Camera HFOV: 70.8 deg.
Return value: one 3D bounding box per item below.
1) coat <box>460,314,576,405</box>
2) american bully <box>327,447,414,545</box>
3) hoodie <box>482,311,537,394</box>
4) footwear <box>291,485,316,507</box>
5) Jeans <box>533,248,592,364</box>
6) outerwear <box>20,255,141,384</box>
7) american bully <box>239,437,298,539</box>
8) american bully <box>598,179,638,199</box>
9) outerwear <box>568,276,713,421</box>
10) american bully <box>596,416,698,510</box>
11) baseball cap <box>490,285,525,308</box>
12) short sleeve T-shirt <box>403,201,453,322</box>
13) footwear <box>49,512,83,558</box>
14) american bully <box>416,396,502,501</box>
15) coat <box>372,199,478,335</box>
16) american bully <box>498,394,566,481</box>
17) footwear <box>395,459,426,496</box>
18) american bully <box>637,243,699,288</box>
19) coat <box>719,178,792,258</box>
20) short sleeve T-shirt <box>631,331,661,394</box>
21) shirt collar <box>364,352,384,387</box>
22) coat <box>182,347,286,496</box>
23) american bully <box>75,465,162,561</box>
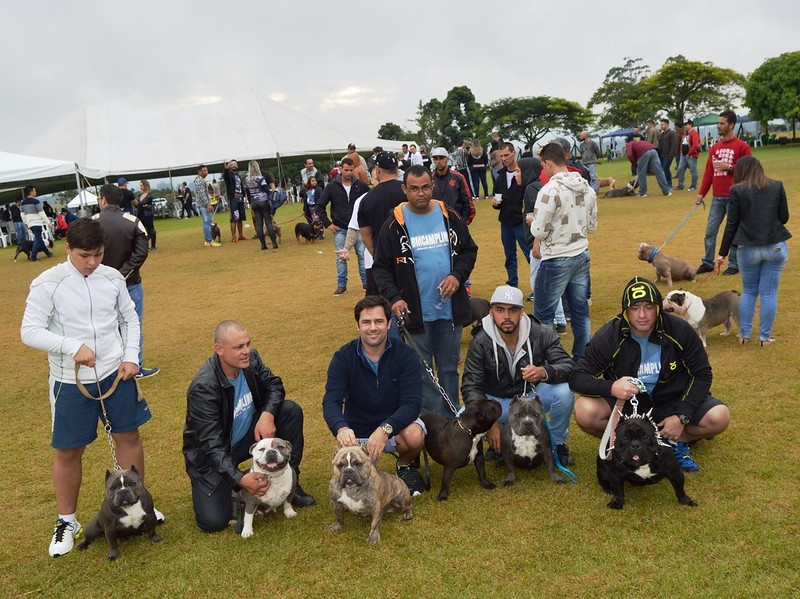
[{"bbox_3d":[1.141,0.530,5.796,1.055,1.052,0.876,-10,38,-4],"label":"coat"},{"bbox_3d":[-0.266,1.656,4.865,0.542,0.739,0.912,-4,-8,28],"label":"american bully"},{"bbox_3d":[1.100,0.504,5.574,0.565,0.755,0.307,-3,4,8],"label":"hoodie"},{"bbox_3d":[-0.935,1.832,5.244,0.303,0.217,0.105,0,1,18],"label":"footwear"},{"bbox_3d":[2.039,0.081,6.984,0.629,1.472,0.425,3,-1,-2],"label":"Jeans"},{"bbox_3d":[-2.673,0.191,4.744,0.843,1.001,0.432,-10,13,-26],"label":"outerwear"},{"bbox_3d":[-1.093,1.555,4.756,0.473,0.672,0.862,-3,1,-17],"label":"american bully"},{"bbox_3d":[8.149,-4.153,21.519,1.670,0.722,0.522,-10,16,22],"label":"american bully"},{"bbox_3d":[2.270,0.497,5.248,1.193,1.384,0.391,-2,12,12],"label":"outerwear"},{"bbox_3d":[2.141,1.417,4.986,0.675,0.737,0.978,-6,-10,16],"label":"american bully"},{"bbox_3d":[1.128,-0.027,5.887,0.371,0.172,0.528,4,2,7],"label":"baseball cap"},{"bbox_3d":[0.273,-0.375,5.880,0.581,1.138,0.276,-3,-2,-21],"label":"short sleeve T-shirt"},{"bbox_3d":[-2.828,1.980,4.800,0.144,0.179,0.400,-9,22,-1],"label":"footwear"},{"bbox_3d":[0.482,1.373,5.322,1.093,0.901,0.559,-2,2,38],"label":"american bully"},{"bbox_3d":[0.365,-0.276,6.005,1.017,1.170,0.611,-9,-18,-4],"label":"coat"},{"bbox_3d":[1.253,1.321,5.434,0.618,0.873,0.862,-4,-7,9],"label":"american bully"},{"bbox_3d":[0.116,1.694,5.399,0.148,0.173,0.378,-24,22,-20],"label":"footwear"},{"bbox_3d":[4.773,-0.600,9.990,1.171,0.684,0.404,4,-5,-10],"label":"american bully"},{"bbox_3d":[4.460,-0.984,7.083,0.738,0.966,0.515,2,13,29],"label":"coat"},{"bbox_3d":[2.347,0.597,5.296,0.304,0.430,0.142,-1,2,12],"label":"short sleeve T-shirt"},{"bbox_3d":[-0.237,0.635,5.237,0.226,0.310,0.092,-2,-4,-7],"label":"shirt collar"},{"bbox_3d":[-1.480,1.152,5.044,0.731,0.948,1.010,20,32,19],"label":"coat"},{"bbox_3d":[-2.375,1.775,4.778,0.666,0.683,0.953,-3,-8,-32],"label":"american bully"}]
